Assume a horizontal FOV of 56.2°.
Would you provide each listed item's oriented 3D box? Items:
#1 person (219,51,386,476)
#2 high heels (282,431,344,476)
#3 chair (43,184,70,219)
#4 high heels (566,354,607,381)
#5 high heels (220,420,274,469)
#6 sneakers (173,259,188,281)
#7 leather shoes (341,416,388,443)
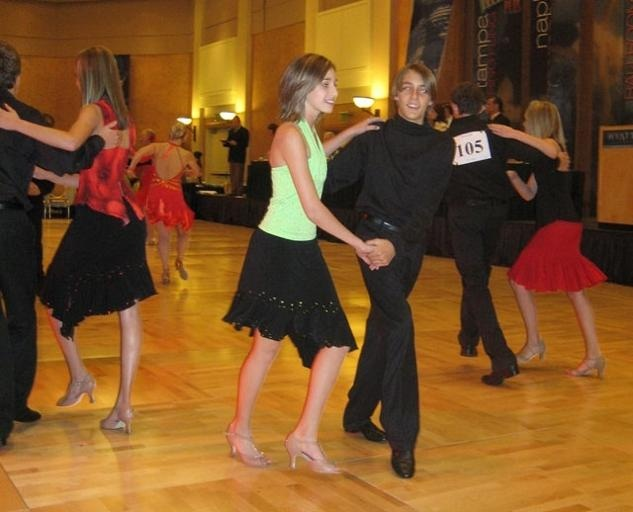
[{"bbox_3d":[-0.055,0.028,2.296,0.578,1.580,0.403,1,6,-1],"label":"person"},{"bbox_3d":[-0.031,0.747,2.262,0.281,0.196,0.099,2,1,1],"label":"high heels"},{"bbox_3d":[-6.272,-1.293,14.466,0.610,0.865,0.616,-3,7,-13],"label":"chair"},{"bbox_3d":[1.604,0.677,3.596,0.275,0.163,0.100,0,4,9],"label":"high heels"},{"bbox_3d":[-0.268,0.742,2.306,0.185,0.115,0.100,14,-7,2],"label":"high heels"},{"bbox_3d":[-1.611,0.172,7.035,0.089,0.213,0.078,-18,9,38],"label":"sneakers"},{"bbox_3d":[0.205,0.756,2.643,0.213,0.086,0.080,4,8,29],"label":"leather shoes"}]
